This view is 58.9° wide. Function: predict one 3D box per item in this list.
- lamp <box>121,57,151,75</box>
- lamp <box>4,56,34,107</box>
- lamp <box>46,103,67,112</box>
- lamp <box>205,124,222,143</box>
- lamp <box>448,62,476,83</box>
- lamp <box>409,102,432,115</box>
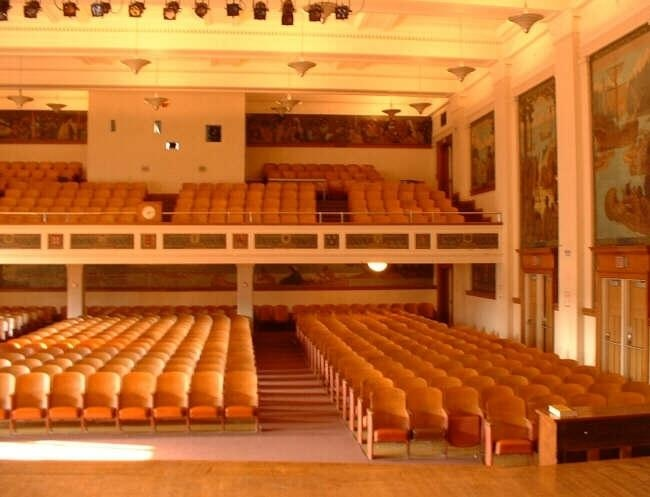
[{"bbox_3d":[-5.488,-5.378,16.666,0.673,0.498,0.745,0,-2,-30],"label":"lamp"},{"bbox_3d":[-12.126,-6.342,22.878,0.862,1.184,4.628,0,-1,-28],"label":"lamp"},{"bbox_3d":[-10.954,-5.806,23.357,0.810,0.260,0.725,-3,7,-13],"label":"lamp"},{"bbox_3d":[-4.482,-4.641,23.516,0.843,0.641,0.766,4,1,-4],"label":"lamp"},{"bbox_3d":[4.157,-5.241,16.994,0.914,0.475,0.817,-2,0,-12],"label":"lamp"},{"bbox_3d":[3.679,-5.705,23.034,0.823,0.313,0.783,0,0,25],"label":"lamp"}]
